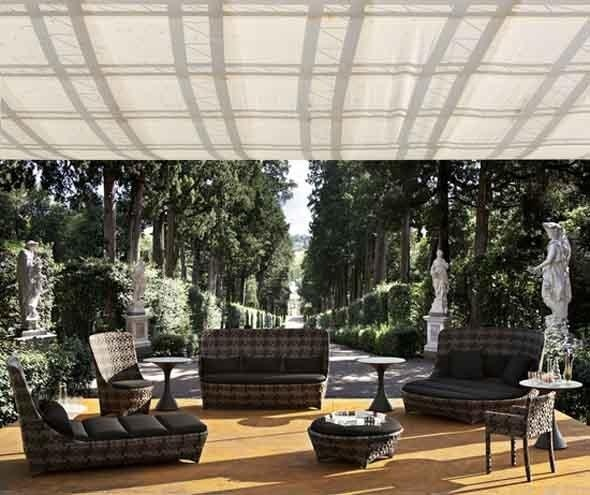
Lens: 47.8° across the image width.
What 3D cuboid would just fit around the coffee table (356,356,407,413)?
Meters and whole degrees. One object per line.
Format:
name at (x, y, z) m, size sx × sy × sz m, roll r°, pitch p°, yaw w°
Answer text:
coffee table at (1.326, 2.035, 10.259) m, size 0.788 × 0.841 × 0.828 m, roll 1°, pitch 0°, yaw -11°

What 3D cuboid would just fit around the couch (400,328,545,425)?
couch at (2.665, 1.791, 9.670) m, size 1.508 × 1.050 × 1.370 m, roll -6°, pitch -10°, yaw 44°

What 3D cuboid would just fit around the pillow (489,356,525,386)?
pillow at (3.092, 1.744, 9.613) m, size 0.373 × 0.406 × 0.606 m, roll 0°, pitch 7°, yaw -8°

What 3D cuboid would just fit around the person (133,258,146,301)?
person at (-4.405, 0.926, 18.989) m, size 0.325 × 1.228 × 0.590 m, roll -1°, pitch 7°, yaw -12°

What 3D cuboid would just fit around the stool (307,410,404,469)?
stool at (0.696, 2.247, 7.733) m, size 1.078 × 0.508 × 0.608 m, roll 1°, pitch 7°, yaw 1°

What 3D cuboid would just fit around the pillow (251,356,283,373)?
pillow at (-0.446, 1.845, 10.493) m, size 0.389 × 0.222 × 0.088 m, roll 3°, pitch -18°, yaw -3°

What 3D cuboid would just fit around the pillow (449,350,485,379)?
pillow at (2.570, 1.744, 9.973) m, size 0.387 × 0.397 × 0.138 m, roll -5°, pitch -26°, yaw 22°

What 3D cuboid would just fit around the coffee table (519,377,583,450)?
coffee table at (3.054, 1.953, 7.951) m, size 0.837 × 0.911 × 0.888 m, roll 1°, pitch -7°, yaw -9°

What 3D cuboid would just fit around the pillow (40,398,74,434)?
pillow at (-2.609, 1.865, 7.321) m, size 0.222 × 0.230 × 0.534 m, roll 3°, pitch 11°, yaw -20°

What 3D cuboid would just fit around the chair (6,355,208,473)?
chair at (-2.178, 1.853, 7.952) m, size 2.066 × 1.347 × 1.161 m, roll 1°, pitch -3°, yaw -17°

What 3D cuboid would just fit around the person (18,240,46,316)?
person at (-5.095, 0.600, 12.815) m, size 0.428 × 1.486 × 1.238 m, roll -3°, pitch 8°, yaw -23°
